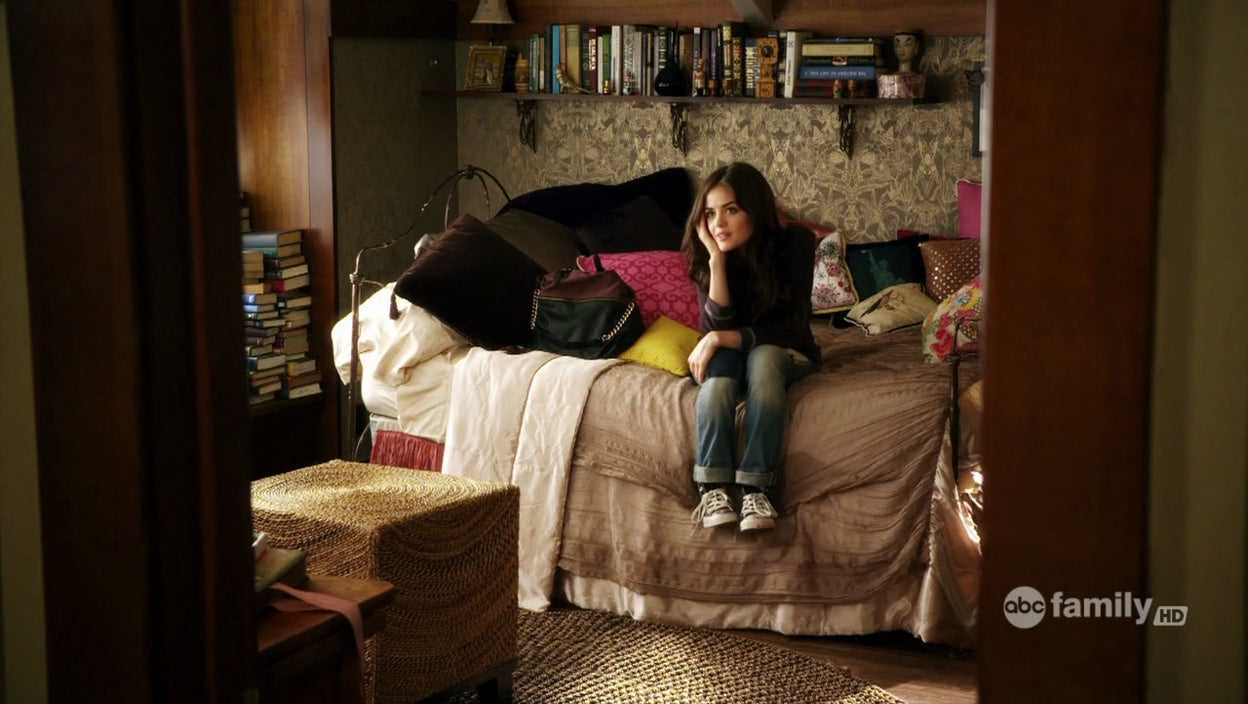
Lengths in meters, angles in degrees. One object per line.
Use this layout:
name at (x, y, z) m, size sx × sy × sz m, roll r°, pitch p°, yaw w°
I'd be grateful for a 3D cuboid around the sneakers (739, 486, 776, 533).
sneakers at (0.435, 0.527, 3.028) m, size 0.122 × 0.158 × 0.111 m, roll 3°, pitch 12°, yaw 9°

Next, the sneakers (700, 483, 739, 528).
sneakers at (0.310, 0.508, 3.026) m, size 0.086 × 0.071 × 0.166 m, roll -1°, pitch -4°, yaw -6°

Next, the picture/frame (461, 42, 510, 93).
picture/frame at (-0.702, -1.424, 4.717) m, size 0.225 × 0.229 × 0.023 m, roll -10°, pitch 34°, yaw -35°

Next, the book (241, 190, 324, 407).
book at (-1.513, -0.150, 4.017) m, size 0.183 × 0.719 × 0.387 m, roll 8°, pitch 14°, yaw 33°

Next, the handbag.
handbag at (-0.157, -0.172, 3.521) m, size 0.451 × 0.361 × 0.258 m, roll 6°, pitch 14°, yaw 34°

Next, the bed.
bed at (0.257, 0.113, 3.264) m, size 1.427 × 0.823 × 1.465 m, roll 2°, pitch 15°, yaw 11°
